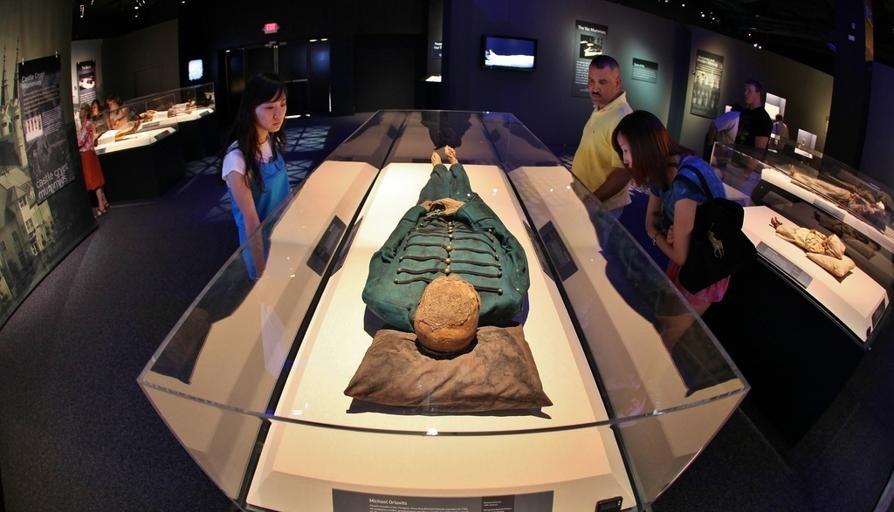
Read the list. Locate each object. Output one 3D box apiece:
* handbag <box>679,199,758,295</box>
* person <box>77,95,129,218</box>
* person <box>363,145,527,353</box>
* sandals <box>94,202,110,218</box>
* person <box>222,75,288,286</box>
[{"bbox_3d":[1.763,-0.051,3.013,0.235,0.541,0.442,-12,57,-33],"label":"handbag"},{"bbox_3d":[-4.297,-1.222,5.720,0.450,1.594,0.521,-14,66,-35],"label":"person"},{"bbox_3d":[-0.004,-0.173,3.187,0.975,0.403,2.164,1,34,-4],"label":"person"},{"bbox_3d":[-4.305,-0.605,5.749,0.105,0.133,0.338,-11,37,-29],"label":"sandals"},{"bbox_3d":[-1.249,-0.608,3.095,0.494,1.141,1.137,-9,21,-25],"label":"person"}]
